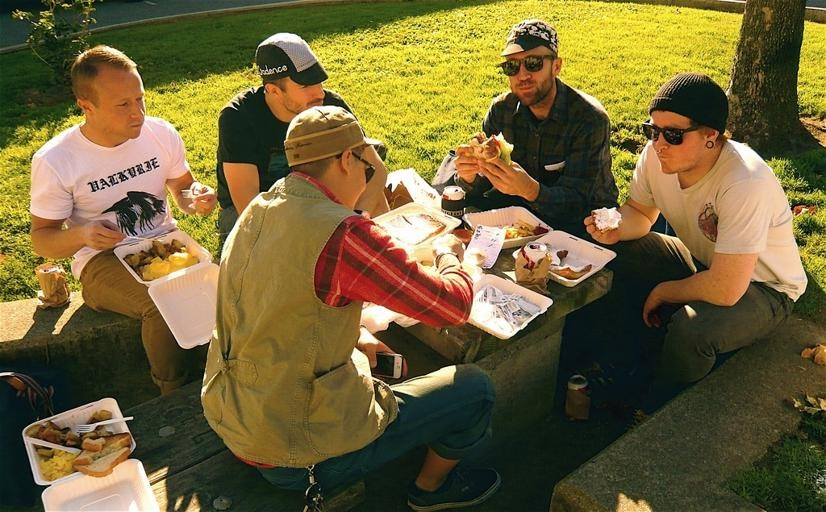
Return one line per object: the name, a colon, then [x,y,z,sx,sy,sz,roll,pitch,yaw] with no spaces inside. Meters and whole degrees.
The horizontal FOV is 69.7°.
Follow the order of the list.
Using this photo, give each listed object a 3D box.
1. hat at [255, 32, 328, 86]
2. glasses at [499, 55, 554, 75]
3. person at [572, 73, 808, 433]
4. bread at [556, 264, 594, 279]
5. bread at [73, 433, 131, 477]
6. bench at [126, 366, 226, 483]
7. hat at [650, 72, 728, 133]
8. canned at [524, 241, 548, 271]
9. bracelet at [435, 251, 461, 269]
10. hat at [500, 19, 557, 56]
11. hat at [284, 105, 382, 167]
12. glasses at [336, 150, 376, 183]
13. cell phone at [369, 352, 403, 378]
hat: [-1.096,-1.768,5.245,0.589,0.323,0.419,6,38,4]
glasses: [1.083,-1.792,5.578,0.497,0.190,0.187,1,29,10]
person: [2.267,-0.037,4.829,1.557,2.639,1.095,11,32,26]
bread: [1.250,0.132,4.588,0.149,0.035,0.145,-15,22,-32]
bread: [-2.075,1.345,4.000,0.332,0.138,0.276,2,30,10]
bench: [-1.670,1.197,4.162,0.476,0.168,0.738,-23,41,-27]
hat: [2.171,-1.174,4.654,0.507,0.329,0.493,26,0,-29]
canned: [0.939,-0.012,4.533,0.179,0.172,0.182,11,22,30]
bracelet: [0.232,0.040,3.962,0.139,0.097,0.152,-4,2,24]
hat: [1.086,-2.055,5.616,0.491,0.255,0.353,-3,9,-20]
hat: [-0.519,-0.761,3.740,0.479,0.235,0.336,-15,21,-23]
glasses: [-0.368,-0.597,3.817,0.182,0.055,0.177,46,13,15]
cell phone: [-0.193,0.772,4.155,0.183,0.104,0.025,7,8,8]
